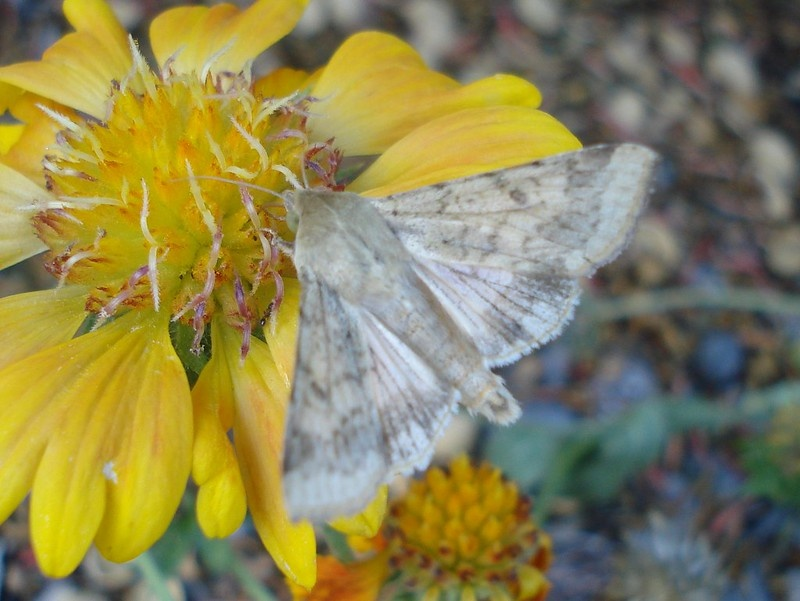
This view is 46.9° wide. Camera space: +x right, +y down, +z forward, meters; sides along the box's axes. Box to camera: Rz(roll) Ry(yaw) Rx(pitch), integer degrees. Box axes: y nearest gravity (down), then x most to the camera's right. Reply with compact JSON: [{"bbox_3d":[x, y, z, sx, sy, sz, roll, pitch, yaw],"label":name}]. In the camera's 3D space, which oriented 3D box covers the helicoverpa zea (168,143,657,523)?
[{"bbox_3d":[0.103,0.031,1.194,0.537,0.190,0.415,-10,81,-1],"label":"helicoverpa zea"}]
